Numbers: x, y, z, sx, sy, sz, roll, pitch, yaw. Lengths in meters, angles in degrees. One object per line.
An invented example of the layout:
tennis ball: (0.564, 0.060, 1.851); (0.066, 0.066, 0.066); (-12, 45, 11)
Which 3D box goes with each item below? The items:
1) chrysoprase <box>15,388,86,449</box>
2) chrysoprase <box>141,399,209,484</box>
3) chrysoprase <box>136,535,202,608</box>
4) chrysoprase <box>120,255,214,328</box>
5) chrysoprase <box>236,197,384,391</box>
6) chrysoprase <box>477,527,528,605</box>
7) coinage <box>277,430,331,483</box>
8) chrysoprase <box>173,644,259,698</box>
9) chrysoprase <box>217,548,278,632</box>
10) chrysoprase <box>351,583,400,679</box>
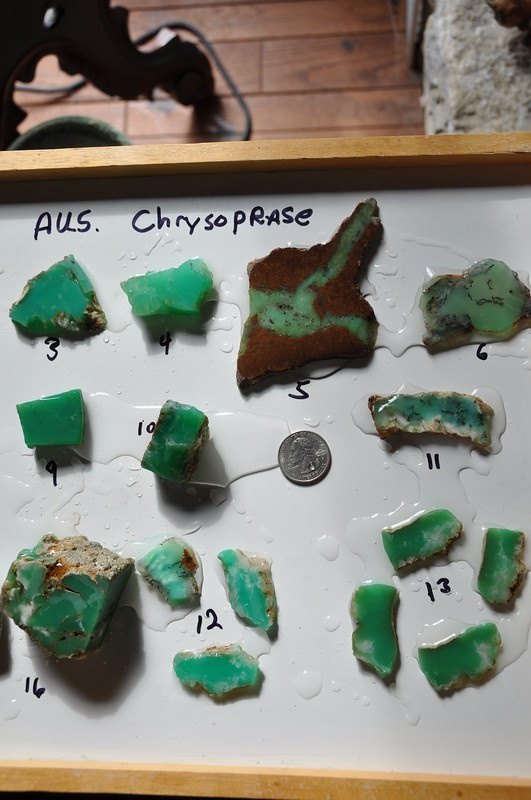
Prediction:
chrysoprase: (-0.299, 0.030, 1.145); (0.089, 0.057, 0.051); (-11, 41, -8)
chrysoprase: (-0.118, 0.054, 1.118); (0.065, 0.105, 0.098); (17, 45, 24)
chrysoprase: (-0.123, 0.242, 1.110); (0.078, 0.068, 0.076); (-24, 44, -21)
chrysoprase: (-0.139, -0.156, 1.164); (0.132, 0.071, 0.064); (-7, 40, -3)
chrysoprase: (0.064, -0.154, 1.162); (0.209, 0.192, 0.199); (-2, 40, 3)
chrysoprase: (0.319, 0.223, 1.091); (0.072, 0.023, 0.095); (5, 85, 9)
coinage: (0.055, 0.082, 1.130); (0.067, 0.010, 0.066); (11, 79, 13)
chrysoprase: (-0.065, 0.361, 1.080); (0.118, 0.013, 0.064); (6, 72, -15)
chrysoprase: (-0.020, 0.261, 1.101); (0.068, 0.081, 0.091); (-9, 40, -4)
chrysoprase: (0.148, 0.296, 1.037); (0.071, 0.023, 0.111); (-2, 76, -2)
